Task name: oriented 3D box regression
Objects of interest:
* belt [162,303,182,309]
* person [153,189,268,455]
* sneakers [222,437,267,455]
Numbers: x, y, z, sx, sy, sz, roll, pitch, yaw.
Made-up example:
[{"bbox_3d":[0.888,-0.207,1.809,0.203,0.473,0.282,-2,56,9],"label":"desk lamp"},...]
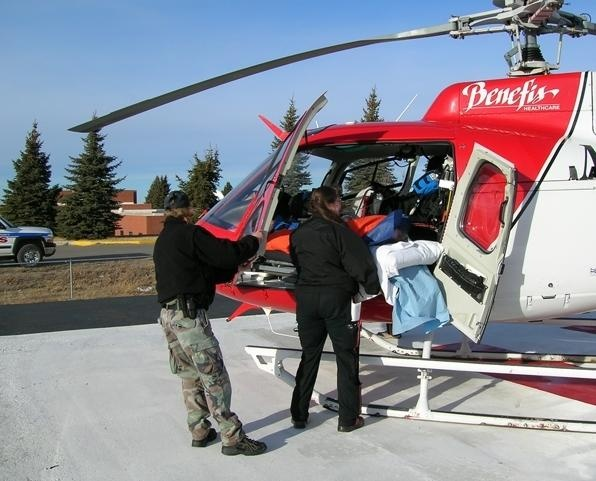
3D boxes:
[{"bbox_3d":[-0.916,0.473,3.278,0.088,0.057,0.079,3,-4,-4],"label":"belt"},{"bbox_3d":[-0.695,0.650,3.416,0.784,2.067,0.488,2,5,26],"label":"person"},{"bbox_3d":[-0.404,1.599,3.473,0.354,0.101,0.137,-1,0,-4],"label":"sneakers"}]
